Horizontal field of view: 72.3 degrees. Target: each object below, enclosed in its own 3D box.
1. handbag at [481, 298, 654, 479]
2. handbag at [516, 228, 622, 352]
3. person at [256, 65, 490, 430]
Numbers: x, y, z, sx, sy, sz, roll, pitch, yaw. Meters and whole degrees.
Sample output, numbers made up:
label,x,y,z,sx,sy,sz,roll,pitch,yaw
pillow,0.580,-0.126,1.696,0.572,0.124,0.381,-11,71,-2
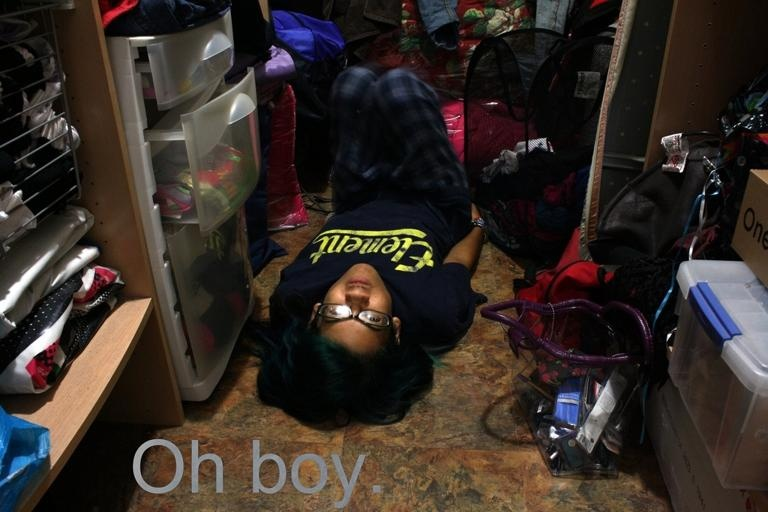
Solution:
label,x,y,z,sx,sy,sz,roll,pitch,yaw
handbag,0.508,0.343,1.780,0.549,0.592,0.477,1,39,6
handbag,0.630,0.145,1.938,0.400,0.172,0.397,-44,19,-33
person,0.025,-0.076,2.244,0.766,0.530,1.460,4,69,20
